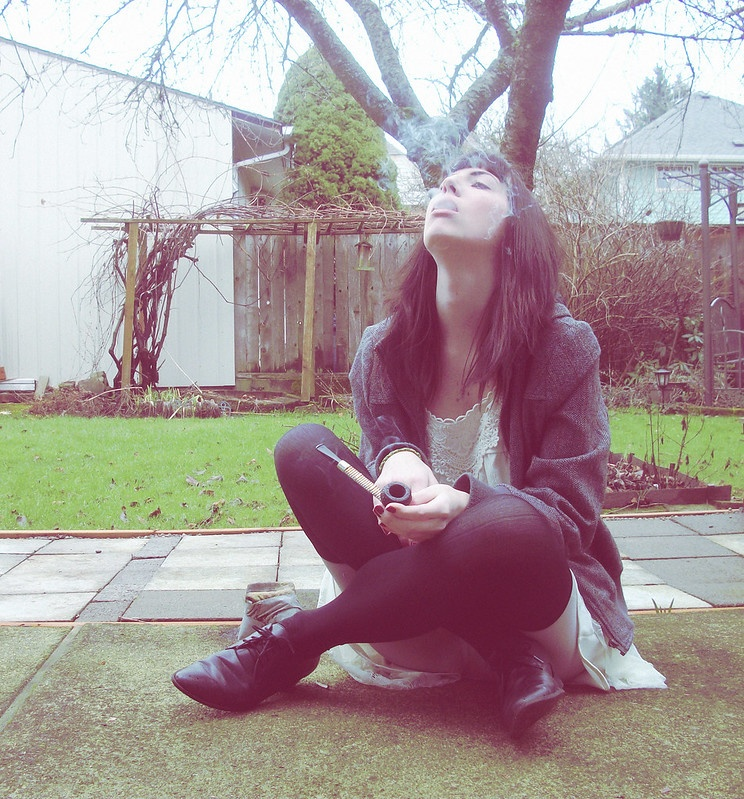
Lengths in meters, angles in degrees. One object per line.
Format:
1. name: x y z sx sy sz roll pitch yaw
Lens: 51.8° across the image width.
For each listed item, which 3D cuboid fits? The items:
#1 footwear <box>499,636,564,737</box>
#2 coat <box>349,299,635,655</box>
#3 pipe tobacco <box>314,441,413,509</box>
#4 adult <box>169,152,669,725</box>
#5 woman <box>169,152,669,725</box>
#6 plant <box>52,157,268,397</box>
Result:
1. footwear: 0.250 0.456 1.219 0.083 0.067 0.187 37 5 9
2. coat: 0.216 0.139 1.635 0.627 0.738 0.475 -2 22 21
3. pipe tobacco: -0.010 0.142 1.344 0.061 0.042 0.224 -35 41 -12
4. adult: 0.162 0.041 1.563 0.723 1.031 0.865 -1 -5 26
5. woman: 0.145 0.046 1.600 0.698 1.016 0.804 0 -4 16
6. plant: -2.182 -1.680 9.181 2.358 3.199 3.033 0 4 -10
